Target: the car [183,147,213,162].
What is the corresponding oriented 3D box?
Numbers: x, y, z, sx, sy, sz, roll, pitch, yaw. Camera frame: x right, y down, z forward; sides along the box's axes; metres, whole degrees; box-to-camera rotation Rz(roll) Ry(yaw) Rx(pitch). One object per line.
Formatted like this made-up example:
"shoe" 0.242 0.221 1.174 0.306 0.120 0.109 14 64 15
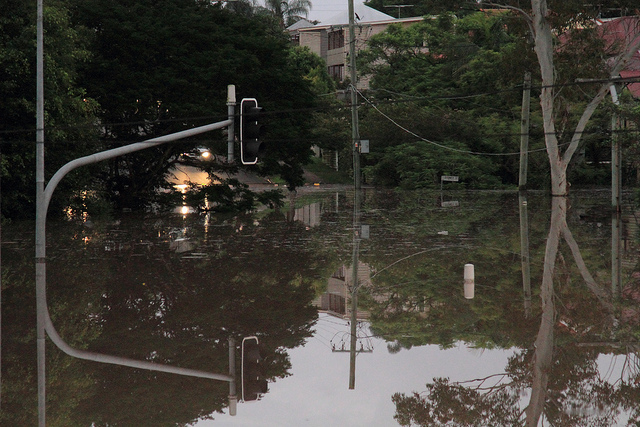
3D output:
"car" -7.370 -3.614 63.683 1.527 0.781 1.648 -1 -11 10
